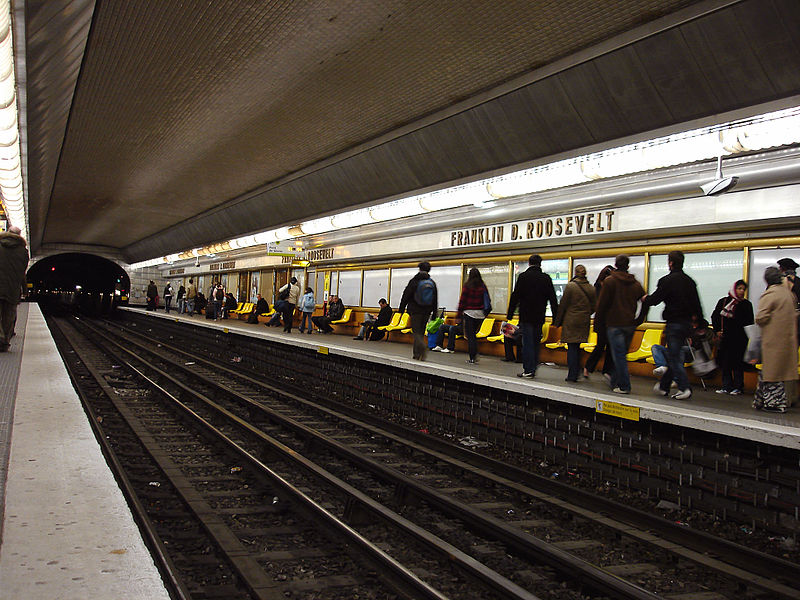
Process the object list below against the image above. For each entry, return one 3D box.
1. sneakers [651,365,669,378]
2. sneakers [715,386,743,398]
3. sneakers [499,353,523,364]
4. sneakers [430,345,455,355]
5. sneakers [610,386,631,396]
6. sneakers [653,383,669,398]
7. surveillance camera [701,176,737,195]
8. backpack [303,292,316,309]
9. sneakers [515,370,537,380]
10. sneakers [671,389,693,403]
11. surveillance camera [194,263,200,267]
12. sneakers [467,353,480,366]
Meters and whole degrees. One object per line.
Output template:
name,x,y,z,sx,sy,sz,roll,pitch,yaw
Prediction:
sneakers,3.501,0.962,7.030,0.128,0.154,0.157,1,-28,48
sneakers,4.885,1.392,7.743,0.380,0.122,0.126,5,-11,-5
sneakers,2.265,1.217,10.639,0.372,0.204,0.112,0,-10,8
sneakers,1.022,1.222,12.592,0.503,0.152,0.179,7,3,33
sneakers,2.950,1.221,6.967,0.091,0.083,0.204,0,5,-14
sneakers,3.588,1.253,7.180,0.139,0.113,0.175,1,-9,-6
surveillance camera,4.473,-1.600,7.242,0.460,0.163,0.306,-20,11,-19
backpack,-3.162,0.040,18.052,0.406,0.584,0.624,1,7,-31
sneakers,1.916,1.170,7.970,0.303,0.106,0.098,3,-1,30
sneakers,3.669,1.249,6.791,0.155,0.100,0.284,-4,-1,20
surveillance camera,-13.741,-2.360,35.242,0.269,0.401,0.242,2,-3,0
sneakers,1.404,1.141,9.930,0.133,0.123,0.353,0,3,-4
